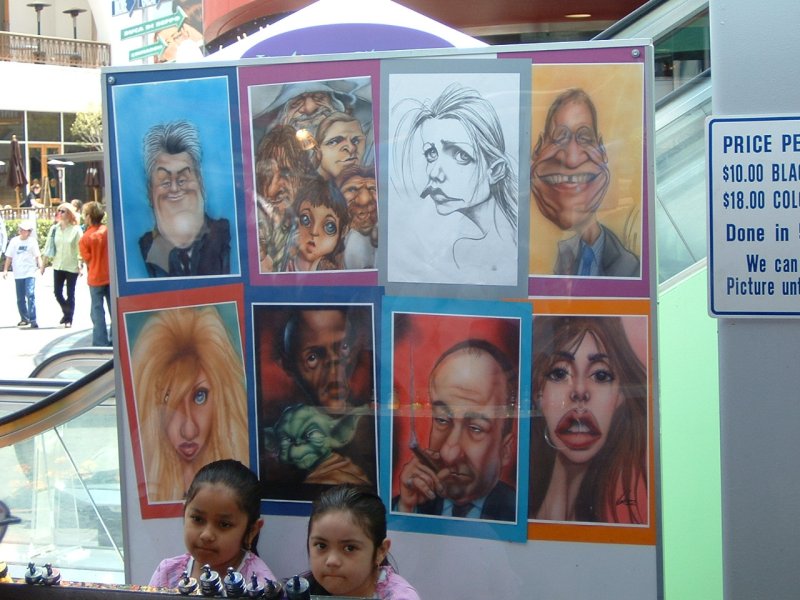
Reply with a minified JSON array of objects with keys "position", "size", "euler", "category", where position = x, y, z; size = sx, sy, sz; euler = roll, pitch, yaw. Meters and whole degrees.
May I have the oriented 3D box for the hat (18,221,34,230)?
[{"position":[-3.920,-0.771,10.455],"size":[0.114,0.098,0.168],"euler":[7,-4,-5],"category":"hat"}]
